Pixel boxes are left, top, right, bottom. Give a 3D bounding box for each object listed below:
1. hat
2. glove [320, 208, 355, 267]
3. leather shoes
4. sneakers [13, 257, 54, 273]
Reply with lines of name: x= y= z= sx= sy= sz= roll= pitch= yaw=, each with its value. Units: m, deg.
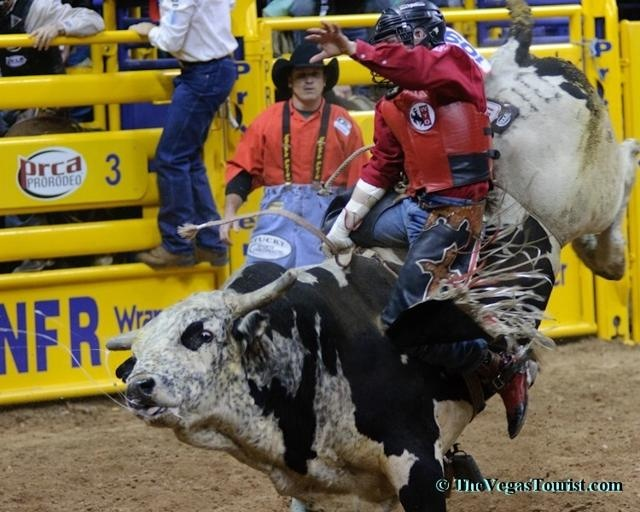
hat: x=-0.127 y=-1.269 z=8.574 sx=0.440 sy=0.189 sz=0.502 roll=-2 pitch=-12 yaw=-3
glove: x=0.091 y=-0.090 z=6.871 sx=0.125 sy=0.285 sz=0.193 roll=-3 pitch=-34 yaw=35
leather shoes: x=1.005 y=0.778 z=7.087 sx=0.283 sy=0.586 sz=0.200 roll=-4 pitch=15 yaw=-33
sneakers: x=-1.983 y=0.044 z=8.900 sx=0.318 sy=0.106 sz=0.093 roll=-2 pitch=13 yaw=-22
